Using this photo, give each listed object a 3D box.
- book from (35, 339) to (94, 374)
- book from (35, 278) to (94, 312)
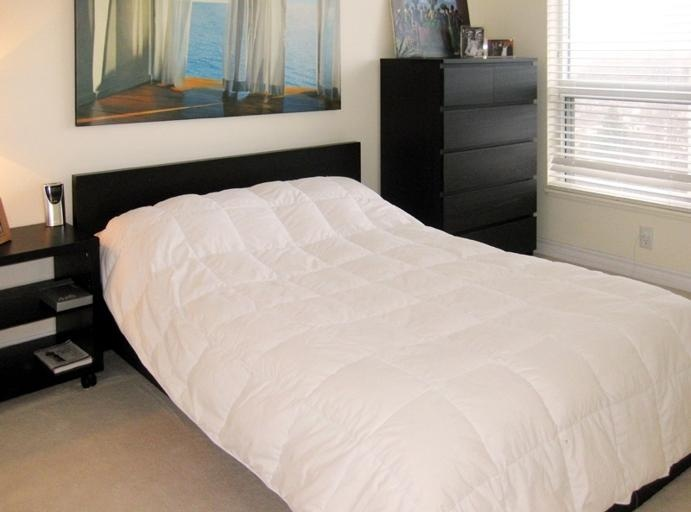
[{"bbox_3d":[-1.516,0.541,2.722,0.182,0.047,0.190,23,28,37],"label":"book"},{"bbox_3d":[-1.501,0.212,2.700,0.193,0.064,0.246,-11,25,-43],"label":"book"}]
